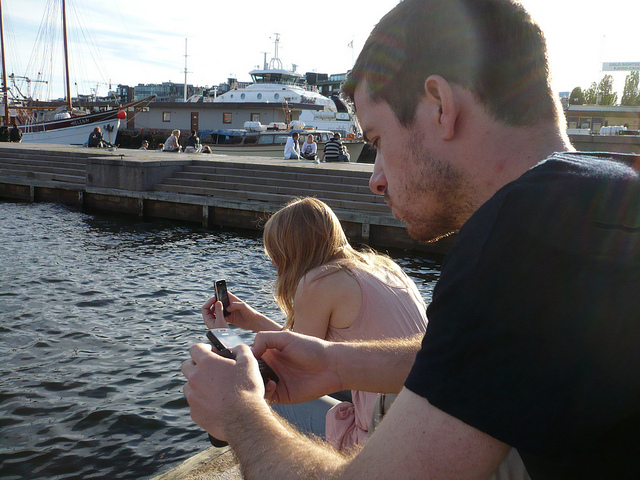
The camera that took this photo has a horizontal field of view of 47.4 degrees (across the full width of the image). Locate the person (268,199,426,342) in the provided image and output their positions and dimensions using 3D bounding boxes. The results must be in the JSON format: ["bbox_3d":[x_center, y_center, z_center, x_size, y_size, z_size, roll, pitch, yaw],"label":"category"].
[{"bbox_3d":[0.149,0.117,3.564,0.489,0.782,0.692,-12,-7,-42],"label":"person"}]

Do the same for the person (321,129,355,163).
[{"bbox_3d":[0.529,-2.478,21.264,0.753,1.397,0.474,-16,26,-42],"label":"person"}]

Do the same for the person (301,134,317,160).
[{"bbox_3d":[-0.329,-2.813,22.461,0.549,1.035,0.681,2,6,4],"label":"person"}]
